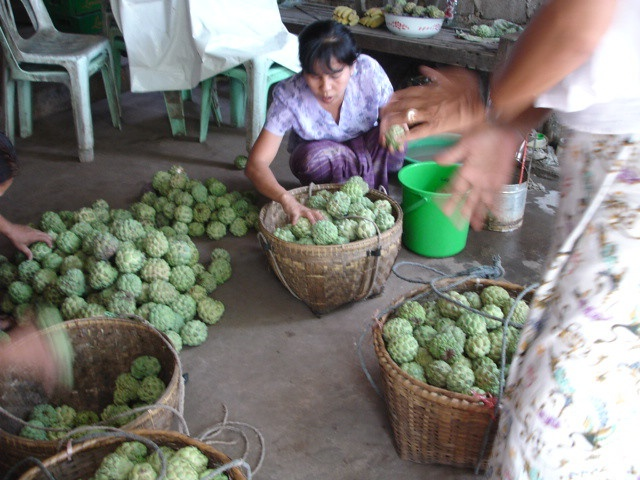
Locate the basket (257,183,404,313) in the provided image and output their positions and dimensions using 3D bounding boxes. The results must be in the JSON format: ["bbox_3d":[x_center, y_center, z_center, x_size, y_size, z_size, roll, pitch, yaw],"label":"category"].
[{"bbox_3d":[0.075,0.134,2.693,0.659,0.503,0.683,-18,43,-16],"label":"basket"}]

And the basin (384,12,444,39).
[{"bbox_3d":[0.822,-1.896,4.264,0.316,0.135,0.338,-1,32,0],"label":"basin"}]

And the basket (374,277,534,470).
[{"bbox_3d":[0.495,0.464,2.017,0.586,0.476,0.713,7,33,11],"label":"basket"}]
